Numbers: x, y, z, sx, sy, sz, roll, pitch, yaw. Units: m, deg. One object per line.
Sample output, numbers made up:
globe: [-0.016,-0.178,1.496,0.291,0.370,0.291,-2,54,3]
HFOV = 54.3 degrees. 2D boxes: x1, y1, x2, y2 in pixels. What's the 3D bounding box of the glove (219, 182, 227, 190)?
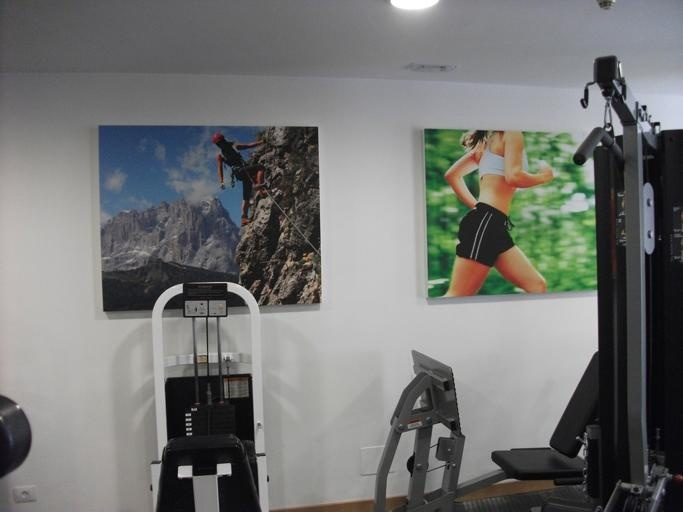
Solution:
glove: [-0.782,-0.458,4.360,0.048,0.067,0.036,4,12,21]
